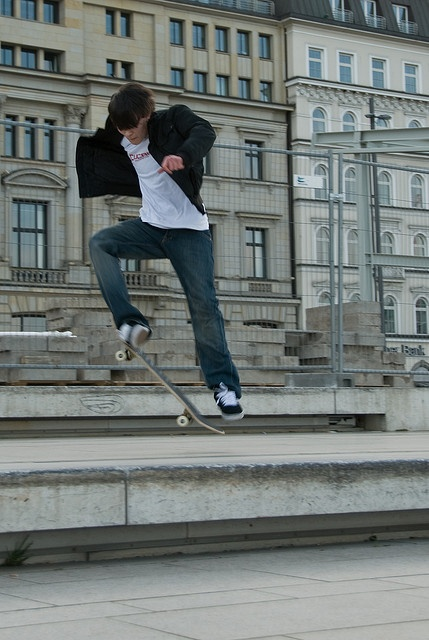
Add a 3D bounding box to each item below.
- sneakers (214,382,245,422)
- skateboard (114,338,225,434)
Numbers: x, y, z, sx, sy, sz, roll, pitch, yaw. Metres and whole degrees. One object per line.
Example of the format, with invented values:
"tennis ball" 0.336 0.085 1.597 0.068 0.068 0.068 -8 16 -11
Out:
"sneakers" 0.056 0.378 4.916 0.081 0.094 0.233 -25 16 -8
"skateboard" -0.307 0.458 6.953 0.162 1.043 0.218 -42 6 3
